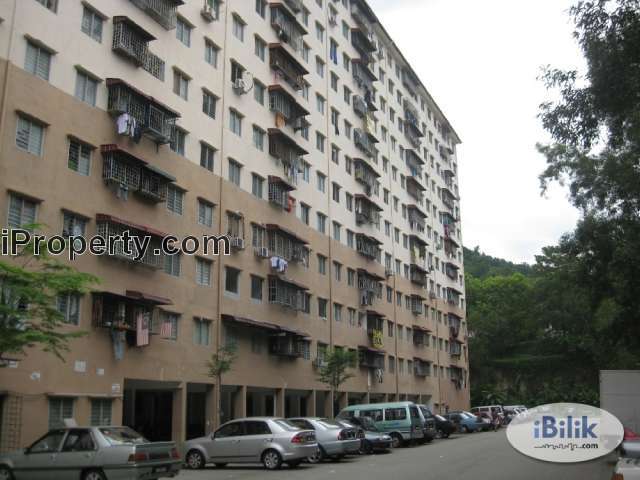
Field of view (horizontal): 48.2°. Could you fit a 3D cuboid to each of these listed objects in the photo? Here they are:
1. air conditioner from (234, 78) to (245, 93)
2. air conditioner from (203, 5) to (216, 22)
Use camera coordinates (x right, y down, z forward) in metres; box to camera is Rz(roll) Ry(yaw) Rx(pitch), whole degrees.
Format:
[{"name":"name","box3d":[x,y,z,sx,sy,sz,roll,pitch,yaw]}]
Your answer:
[{"name":"air conditioner","box3d":[-4.931,-9.491,43.928,0.311,0.794,0.829,-8,-18,20]},{"name":"air conditioner","box3d":[-6.496,-13.378,42.188,0.559,0.810,1.111,-6,-15,13]}]
